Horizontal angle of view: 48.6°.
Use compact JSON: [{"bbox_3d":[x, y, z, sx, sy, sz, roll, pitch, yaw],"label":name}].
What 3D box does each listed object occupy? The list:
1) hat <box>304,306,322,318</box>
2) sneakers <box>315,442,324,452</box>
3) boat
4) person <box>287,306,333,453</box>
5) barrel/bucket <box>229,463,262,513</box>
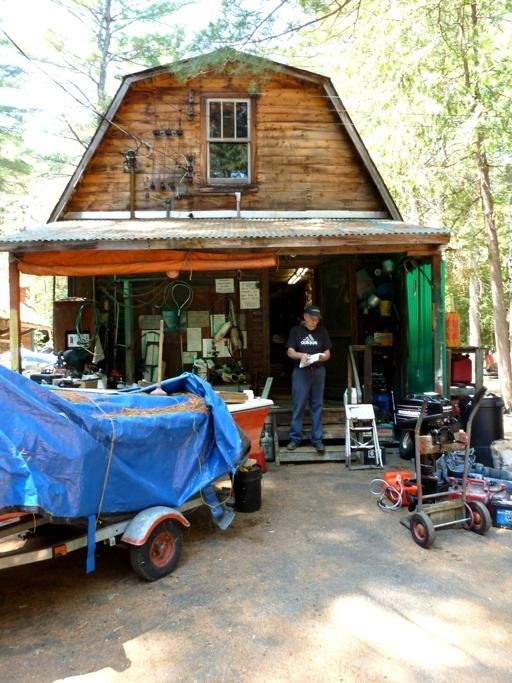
[{"bbox_3d":[0.769,-0.391,7.638,0.188,0.131,0.265,-1,0,2],"label":"hat"},{"bbox_3d":[0.852,1.412,7.616,0.101,0.092,0.225,0,-10,-5],"label":"sneakers"},{"bbox_3d":[-0.796,1.044,4.140,1.922,0.582,1.173,-4,4,-41],"label":"boat"},{"bbox_3d":[0.728,0.518,7.695,0.603,1.394,0.808,-1,1,2],"label":"person"},{"bbox_3d":[-0.055,1.434,5.556,0.409,0.418,0.410,-1,0,0],"label":"barrel/bucket"}]
